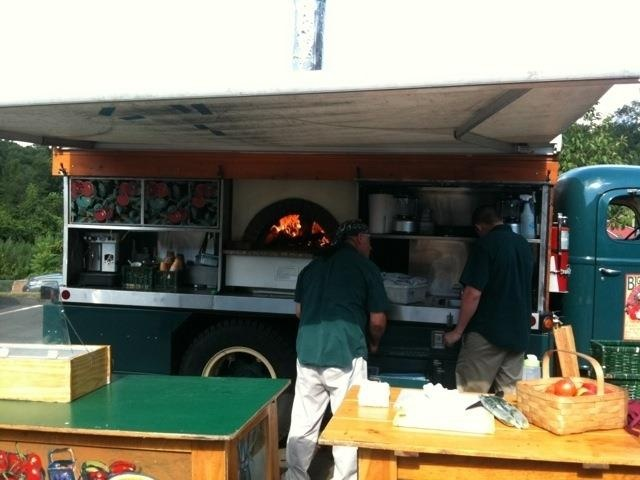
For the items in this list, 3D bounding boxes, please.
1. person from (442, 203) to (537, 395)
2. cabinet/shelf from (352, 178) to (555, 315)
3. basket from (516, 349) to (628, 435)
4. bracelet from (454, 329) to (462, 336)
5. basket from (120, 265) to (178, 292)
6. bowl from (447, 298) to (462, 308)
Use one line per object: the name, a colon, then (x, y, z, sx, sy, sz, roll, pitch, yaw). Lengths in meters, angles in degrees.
person: (1.485, 0.559, 5.627, 0.720, 1.685, 0.449, 0, 2, 15)
cabinet/shelf: (1.420, 0.450, 6.679, 2.042, 1.565, 1.139, 0, -3, 15)
basket: (1.549, 0.945, 4.023, 0.524, 0.472, 0.527, 3, -3, -11)
bracelet: (1.210, 0.812, 5.608, 0.046, 0.051, 0.053, -1, 8, -4)
basket: (-1.839, 0.426, 6.804, 0.359, 0.162, 0.363, 2, 1, 0)
bowl: (1.301, 0.628, 6.210, 0.076, 0.063, 0.111, -5, 2, -42)
